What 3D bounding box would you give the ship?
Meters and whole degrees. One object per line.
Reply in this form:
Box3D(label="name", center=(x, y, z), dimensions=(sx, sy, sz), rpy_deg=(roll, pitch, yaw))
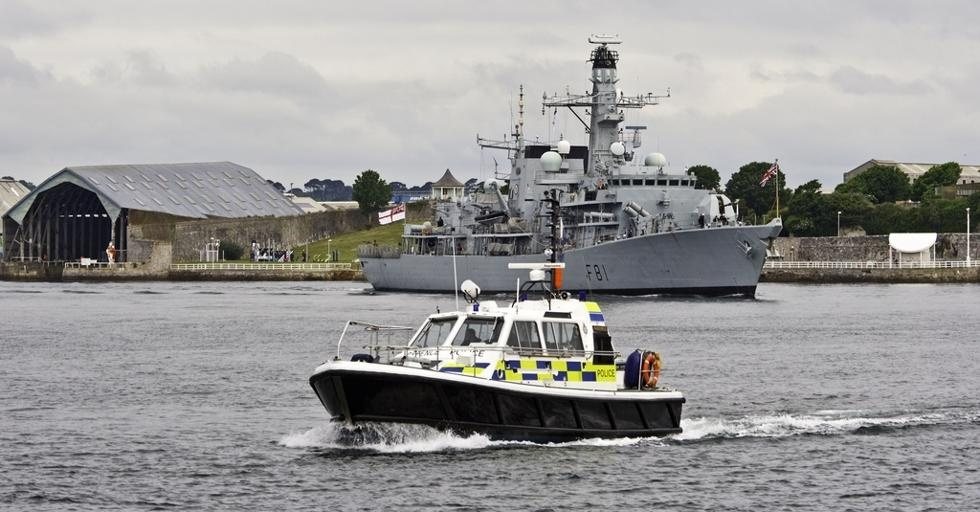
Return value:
Box3D(label="ship", center=(3.647, -4.554, 224.358), dimensions=(18.136, 23.227, 58.639), rpy_deg=(0, -1, -44))
